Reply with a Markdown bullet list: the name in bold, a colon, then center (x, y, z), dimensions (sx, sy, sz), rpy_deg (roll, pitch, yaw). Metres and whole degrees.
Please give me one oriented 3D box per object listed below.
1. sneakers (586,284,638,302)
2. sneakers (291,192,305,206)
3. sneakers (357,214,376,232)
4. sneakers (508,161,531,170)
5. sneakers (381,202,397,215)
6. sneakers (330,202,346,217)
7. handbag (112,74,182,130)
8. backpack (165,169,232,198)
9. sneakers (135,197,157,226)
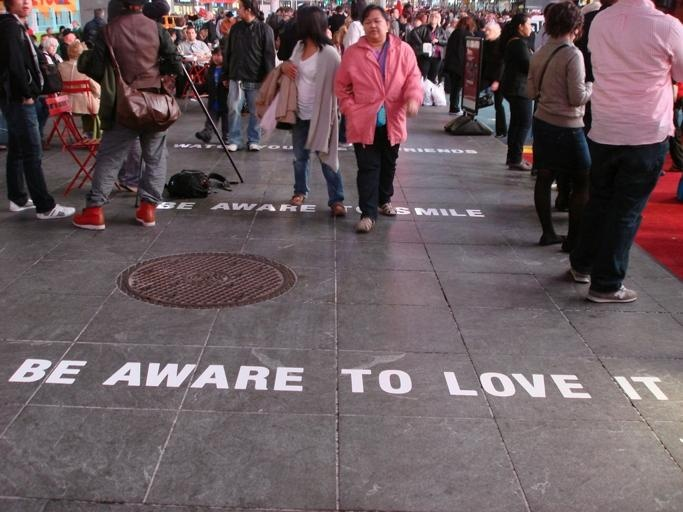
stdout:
- **sneakers**: center (2.158, 0.284, 4.624), dimensions (0.399, 0.162, 0.143), rpy_deg (-1, 9, -2)
- **sneakers**: center (-0.522, -0.695, 6.902), dimensions (0.185, 0.124, 0.338), rpy_deg (0, 23, 2)
- **sneakers**: center (0.276, -0.350, 6.028), dimensions (0.126, 0.147, 0.321), rpy_deg (9, 25, 21)
- **sneakers**: center (2.763, -1.391, 8.891), dimensions (0.316, 0.121, 0.142), rpy_deg (0, 15, 4)
- **sneakers**: center (0.542, -0.532, 6.529), dimensions (0.201, 0.138, 0.182), rpy_deg (0, 24, 1)
- **sneakers**: center (-0.034, -0.534, 6.505), dimensions (0.172, 0.140, 0.202), rpy_deg (-2, 24, -2)
- **handbag**: center (-1.976, -1.581, 5.848), dimensions (0.333, 0.663, 0.669), rpy_deg (-5, 8, 32)
- **backpack**: center (-1.798, -0.934, 7.250), dimensions (0.560, 0.277, 0.831), rpy_deg (19, 30, 38)
- **sneakers**: center (-2.056, -0.456, 6.043), dimensions (0.217, 0.239, 0.275), rpy_deg (-8, 25, -15)
